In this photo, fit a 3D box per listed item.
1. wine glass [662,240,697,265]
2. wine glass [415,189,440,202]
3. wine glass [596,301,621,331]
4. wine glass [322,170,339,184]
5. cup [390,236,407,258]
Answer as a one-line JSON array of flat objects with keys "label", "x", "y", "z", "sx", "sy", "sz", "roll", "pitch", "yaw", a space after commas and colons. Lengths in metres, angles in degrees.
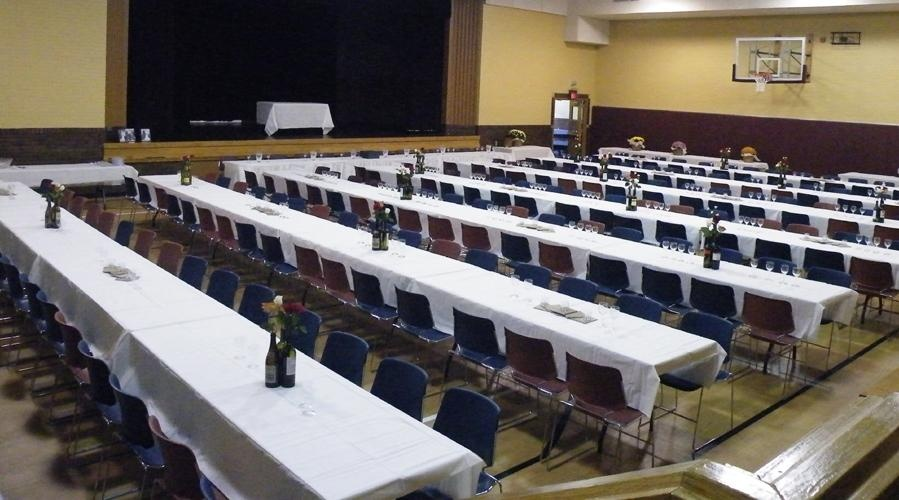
[{"label": "wine glass", "x": 3.247, "y": 0.008, "z": 8.139, "sx": 0.349, "sy": 0.435, "sz": 0.351, "roll": 6, "pitch": 5, "yaw": 20}, {"label": "wine glass", "x": -0.407, "y": -1.031, "z": 10.939, "sx": 0.309, "sy": 0.362, "sz": 0.318, "roll": 3, "pitch": 1, "yaw": -10}, {"label": "wine glass", "x": 1.613, "y": 0.680, "z": 5.871, "sx": 0.250, "sy": 0.265, "sz": 0.241, "roll": 0, "pitch": 5, "yaw": 2}, {"label": "wine glass", "x": -2.578, "y": -1.617, "z": 12.668, "sx": 0.316, "sy": 0.142, "sz": 0.407, "roll": 0, "pitch": 15, "yaw": -13}, {"label": "cup", "x": -0.681, "y": -0.010, "z": 7.563, "sx": 0.232, "sy": 0.239, "sz": 0.222, "roll": 0, "pitch": 4, "yaw": 0}]
